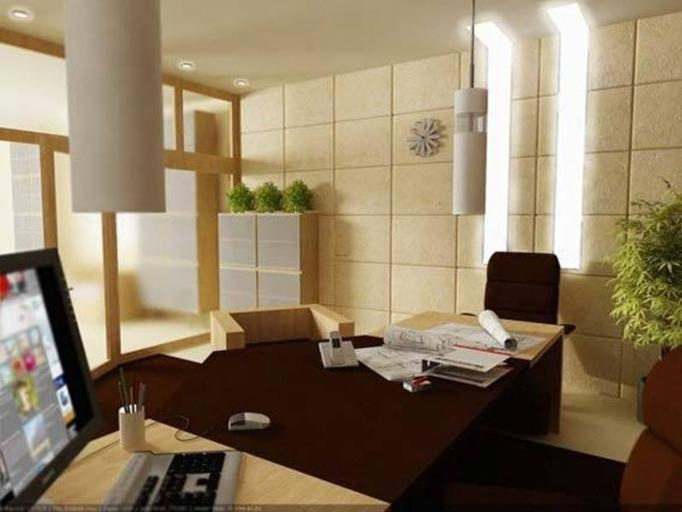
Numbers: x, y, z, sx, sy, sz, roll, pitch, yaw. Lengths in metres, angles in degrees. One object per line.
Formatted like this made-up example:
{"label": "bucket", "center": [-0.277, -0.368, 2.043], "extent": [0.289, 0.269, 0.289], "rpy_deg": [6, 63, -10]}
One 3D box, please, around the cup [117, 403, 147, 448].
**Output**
{"label": "cup", "center": [-0.728, 0.614, 1.840], "extent": [0.091, 0.136, 0.090], "rpy_deg": [-3, -1, 0]}

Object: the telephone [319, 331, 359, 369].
{"label": "telephone", "center": [-0.014, 0.447, 2.543], "extent": [0.136, 0.055, 0.187], "rpy_deg": [-1, 13, -7]}

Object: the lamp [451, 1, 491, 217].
{"label": "lamp", "center": [0.973, -1.113, 3.858], "extent": [0.268, 1.686, 1.127], "rpy_deg": [3, 11, 15]}

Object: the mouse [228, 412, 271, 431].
{"label": "mouse", "center": [-0.340, 0.608, 1.937], "extent": [0.129, 0.034, 0.069], "rpy_deg": [0, 3, -1]}

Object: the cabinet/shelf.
{"label": "cabinet/shelf", "center": [-0.895, 0.073, 6.224], "extent": [1.227, 1.212, 0.458], "rpy_deg": [4, 11, 21]}
